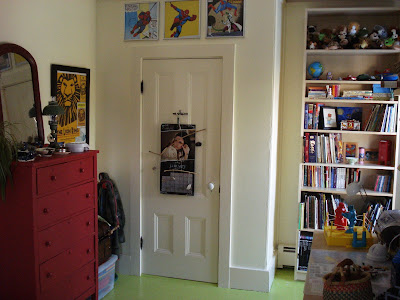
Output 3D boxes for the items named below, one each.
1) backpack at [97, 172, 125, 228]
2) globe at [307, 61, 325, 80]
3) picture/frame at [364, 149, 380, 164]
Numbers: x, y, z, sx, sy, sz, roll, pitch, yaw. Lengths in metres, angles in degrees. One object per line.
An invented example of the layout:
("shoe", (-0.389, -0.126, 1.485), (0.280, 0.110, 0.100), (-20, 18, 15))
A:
("backpack", (-1.070, 0.665, 3.883), (0.274, 0.624, 0.249), (3, 6, 10))
("globe", (1.434, -0.952, 3.997), (0.212, 0.271, 0.221), (1, 5, 35))
("picture/frame", (2.178, 0.079, 4.042), (0.165, 0.177, 0.023), (1, 0, 18))
